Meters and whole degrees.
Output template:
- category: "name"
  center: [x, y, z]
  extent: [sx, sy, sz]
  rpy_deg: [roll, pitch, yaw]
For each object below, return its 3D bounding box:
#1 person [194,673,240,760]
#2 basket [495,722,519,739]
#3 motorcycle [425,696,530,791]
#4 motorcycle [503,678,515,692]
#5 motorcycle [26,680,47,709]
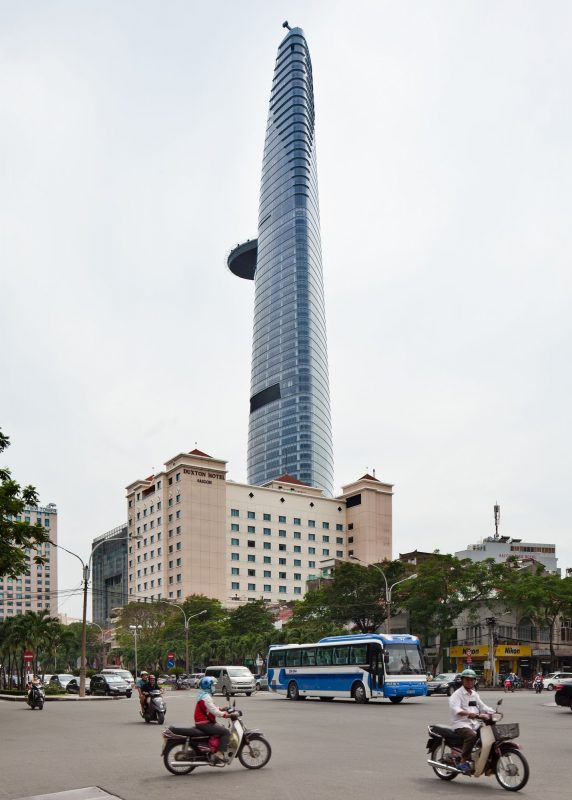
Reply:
- category: "person"
  center: [-1.207, 5.267, 19.799]
  extent: [0.605, 1.352, 0.629]
  rpy_deg: [1, -13, -3]
- category: "basket"
  center: [3.398, 5.123, 18.513]
  extent: [0.317, 0.238, 0.568]
  rpy_deg: [-4, -15, 14]
- category: "motorcycle"
  center: [2.978, 5.449, 18.610]
  extent: [0.906, 1.168, 1.785]
  rpy_deg: [8, -17, -31]
- category: "motorcycle"
  center: [12.543, 16.149, 67.966]
  extent: [0.531, 0.714, 1.164]
  rpy_deg: [0, -16, 20]
- category: "motorcycle"
  center: [-8.504, 10.279, 41.428]
  extent: [0.602, 0.952, 1.556]
  rpy_deg: [5, -23, -29]
